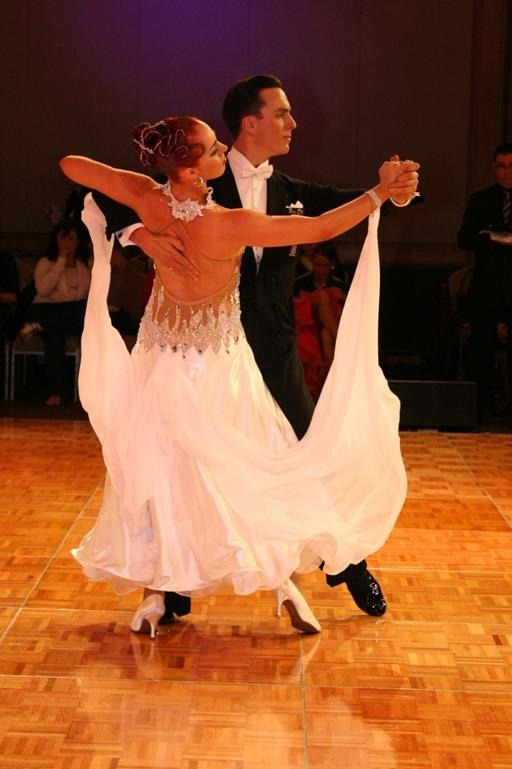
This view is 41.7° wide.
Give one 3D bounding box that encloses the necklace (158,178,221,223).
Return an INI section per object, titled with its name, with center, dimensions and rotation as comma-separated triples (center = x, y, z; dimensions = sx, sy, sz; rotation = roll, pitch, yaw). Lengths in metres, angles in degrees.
[necklace]
center = -0.138, -0.403, 1.502
dimensions = 0.091, 0.095, 0.140
rotation = -1, 4, -40

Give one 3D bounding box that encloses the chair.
[chair]
center = -1.884, -0.134, 5.963
dimensions = 0.884, 0.711, 0.599
rotation = 1, 10, 1

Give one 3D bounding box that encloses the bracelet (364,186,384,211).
[bracelet]
center = 0.258, -0.401, 1.451
dimensions = 0.019, 0.046, 0.042
rotation = -40, 43, -7

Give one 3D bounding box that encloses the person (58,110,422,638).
[person]
center = -0.081, -0.008, 1.616
dimensions = 0.863, 1.141, 0.443
rotation = 3, 4, 14

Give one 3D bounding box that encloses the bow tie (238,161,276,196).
[bow tie]
center = 0.000, -0.556, 1.818
dimensions = 0.113, 0.099, 0.022
rotation = 2, 18, -19

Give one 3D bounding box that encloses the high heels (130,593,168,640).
[high heels]
center = -0.276, 0.601, 1.739
dimensions = 0.052, 0.065, 0.152
rotation = 4, -4, -15
